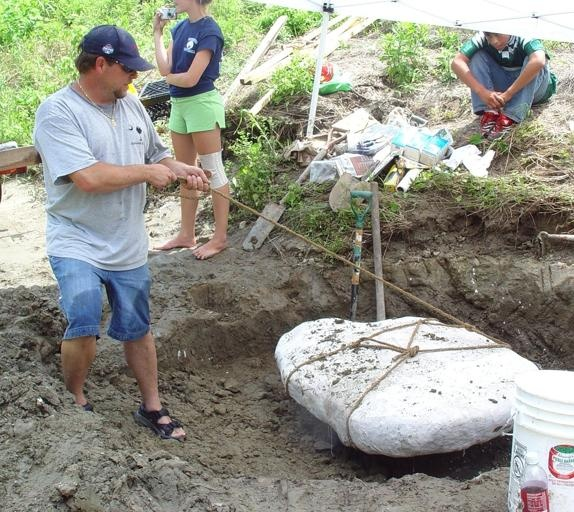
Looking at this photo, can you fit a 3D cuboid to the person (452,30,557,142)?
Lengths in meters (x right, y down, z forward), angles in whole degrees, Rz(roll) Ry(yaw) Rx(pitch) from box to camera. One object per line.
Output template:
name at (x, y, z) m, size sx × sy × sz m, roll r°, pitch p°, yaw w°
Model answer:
person at (2.109, -1.704, 6.434) m, size 0.957 × 0.988 × 0.678 m, roll 5°, pitch 21°, yaw 16°

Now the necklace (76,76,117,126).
necklace at (-1.097, -0.902, 3.839) m, size 0.076 × 0.284 × 0.224 m, roll -29°, pitch 8°, yaw 31°

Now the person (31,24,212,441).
person at (-0.980, -0.194, 4.285) m, size 1.149 × 2.390 × 1.139 m, roll -10°, pitch 27°, yaw -36°

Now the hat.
hat at (-0.983, -1.243, 3.805) m, size 0.424 × 0.186 × 0.236 m, roll 16°, pitch 24°, yaw -9°
